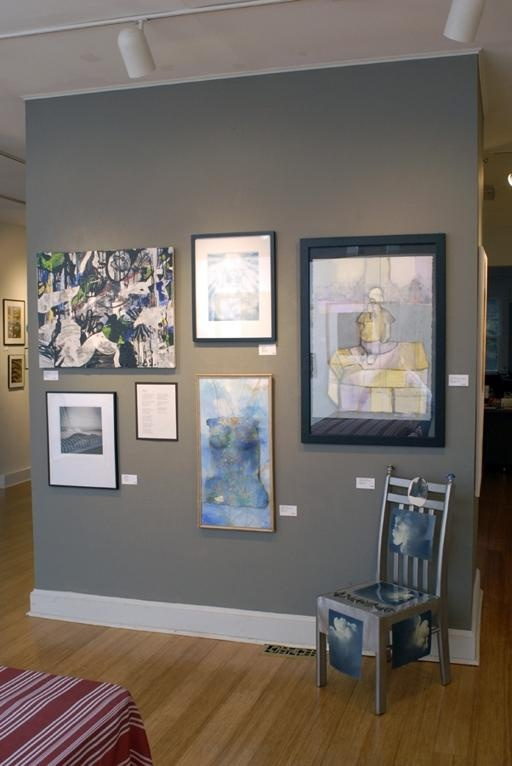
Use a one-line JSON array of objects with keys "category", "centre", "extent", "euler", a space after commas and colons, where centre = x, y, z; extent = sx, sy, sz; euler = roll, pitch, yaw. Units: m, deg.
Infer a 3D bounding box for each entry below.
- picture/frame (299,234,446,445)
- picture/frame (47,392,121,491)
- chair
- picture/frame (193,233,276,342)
[{"category": "picture/frame", "centre": [0.586, -0.232, 2.935], "extent": [0.925, 1.373, 0.055], "euler": [1, 5, 19]}, {"category": "picture/frame", "centre": [-0.957, 0.314, 3.466], "extent": [0.493, 0.692, 0.043], "euler": [2, 3, 16]}, {"category": "chair", "centre": [0.594, 0.868, 2.760], "extent": [0.686, 0.790, 0.464], "euler": [-1, 0, -39]}, {"category": "picture/frame", "centre": [-0.093, -0.499, 3.133], "extent": [0.508, 0.679, 0.043], "euler": [1, 5, 16]}]
